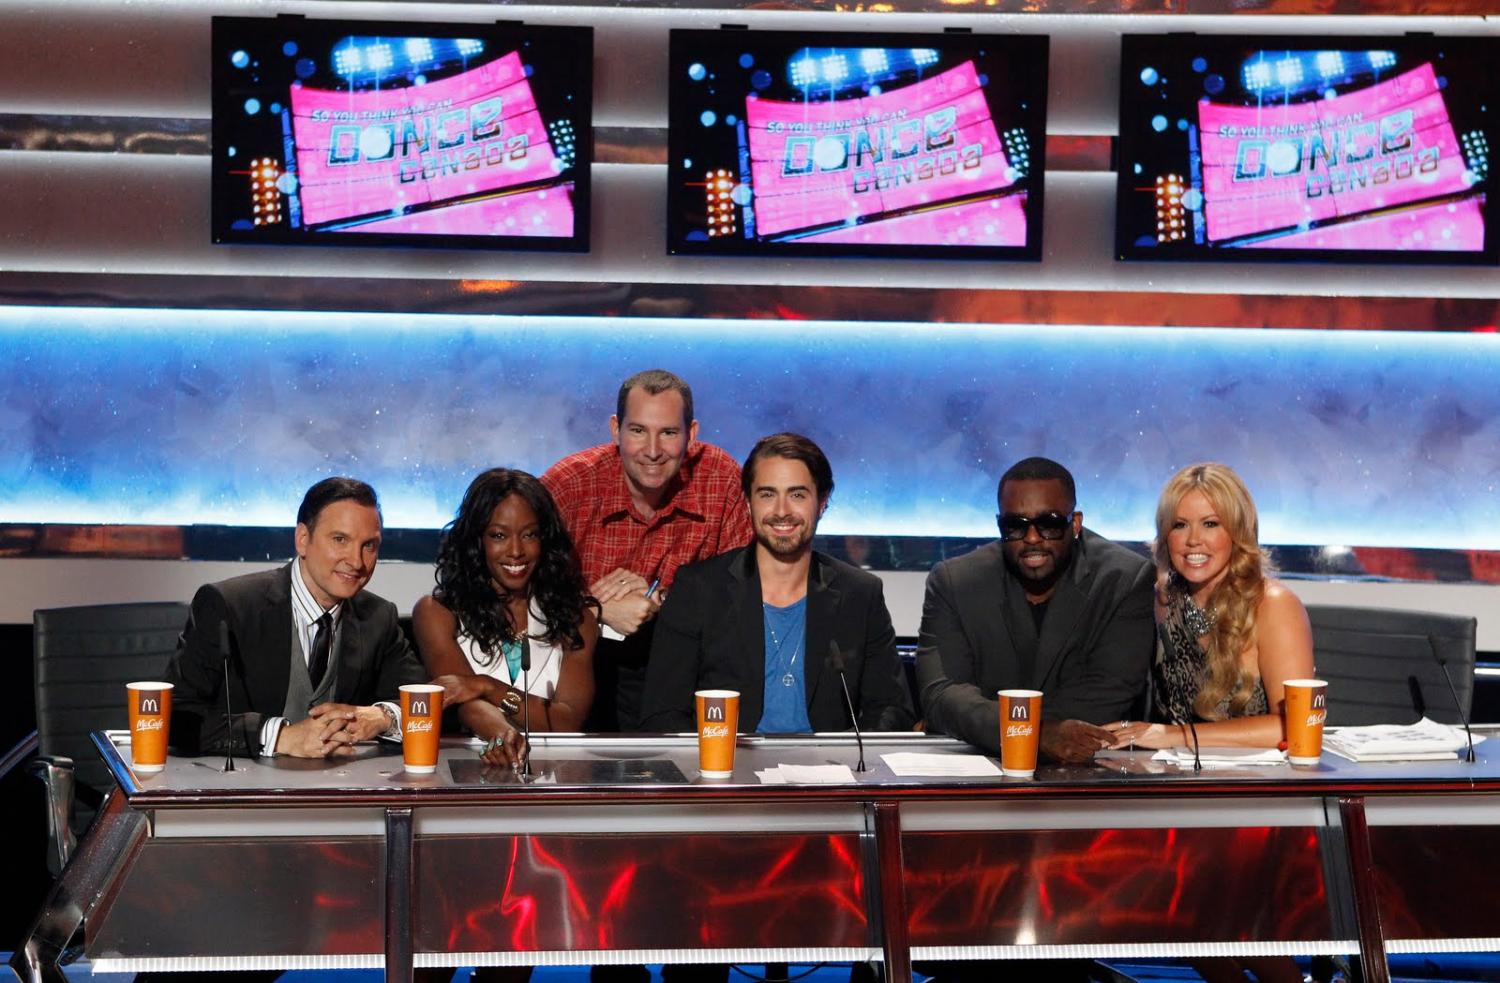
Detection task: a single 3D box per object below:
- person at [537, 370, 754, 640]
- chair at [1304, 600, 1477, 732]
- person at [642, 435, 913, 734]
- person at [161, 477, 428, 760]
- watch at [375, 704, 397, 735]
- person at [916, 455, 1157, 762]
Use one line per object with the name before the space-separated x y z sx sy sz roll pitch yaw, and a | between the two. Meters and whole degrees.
person | -0.357 0.058 4.700 0.929 0.778 0.527 0 28 -12
chair | 2.032 0.582 4.586 0.417 0.530 0.472 -2 -7 17
person | 0.067 0.275 4.172 0.814 0.890 0.192 -2 0 -6
person | -1.394 0.401 4.242 0.613 0.844 0.493 12 -26 -36
watch | -0.974 0.608 3.756 0.050 0.082 0.057 0 6 43
person | 0.881 0.331 4.229 0.716 0.886 0.874 -1 -2 10
